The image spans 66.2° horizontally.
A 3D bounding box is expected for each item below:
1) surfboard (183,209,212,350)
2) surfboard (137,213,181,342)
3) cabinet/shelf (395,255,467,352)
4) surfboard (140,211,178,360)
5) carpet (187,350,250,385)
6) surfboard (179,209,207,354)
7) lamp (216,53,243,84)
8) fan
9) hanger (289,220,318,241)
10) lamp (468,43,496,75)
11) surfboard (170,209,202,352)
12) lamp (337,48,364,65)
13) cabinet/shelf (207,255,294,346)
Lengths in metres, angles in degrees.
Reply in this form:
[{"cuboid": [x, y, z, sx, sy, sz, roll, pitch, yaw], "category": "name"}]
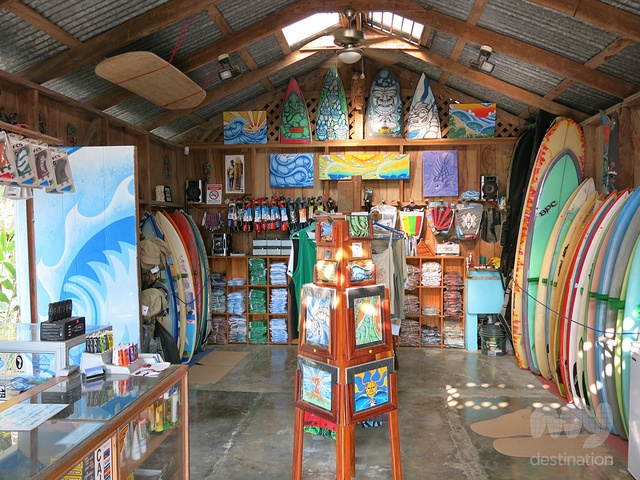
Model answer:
[{"cuboid": [-1.855, 0.583, 7.885, 0.397, 2.276, 0.226, 0, 3, 32], "category": "surfboard"}, {"cuboid": [-2.250, 0.585, 7.181, 0.387, 2.087, 0.219, -4, 11, 21], "category": "surfboard"}, {"cuboid": [1.799, 1.034, 7.897, 1.390, 1.760, 0.493, 1, 2, 9], "category": "cabinet/shelf"}, {"cuboid": [-2.319, 0.663, 7.177, 0.394, 2.113, 0.213, -2, -11, -36], "category": "surfboard"}, {"cuboid": [-1.571, 1.877, 7.310, 0.634, 0.094, 1.428, 1, 9, 11], "category": "carpet"}, {"cuboid": [-1.927, 0.519, 7.715, 0.406, 2.259, 0.225, 1, 5, 35], "category": "surfboard"}, {"cuboid": [-1.322, -2.514, 7.121, 0.347, 0.226, 0.381, 10, -37, 15], "category": "lamp"}, {"cuboid": [0.558, -3.052, 7.070, 1.090, 0.493, 1.262, 1, 1, 23], "category": "fan"}, {"cuboid": [-0.180, -0.094, 5.541, 0.272, 0.109, 0.226, -5, -1, 22], "category": "hanger"}, {"cuboid": [2.202, -2.416, 6.606, 0.329, 0.369, 0.116, 9, -2, -12], "category": "lamp"}, {"cuboid": [-2.003, 0.560, 7.651, 0.419, 2.281, 0.229, -5, -1, 35], "category": "surfboard"}, {"cuboid": [0.408, -2.313, 6.167, 0.280, 0.152, 0.402, 3, 10, 24], "category": "lamp"}, {"cuboid": [-1.145, 1.062, 8.275, 1.390, 1.450, 0.439, -1, -4, -1], "category": "cabinet/shelf"}]
